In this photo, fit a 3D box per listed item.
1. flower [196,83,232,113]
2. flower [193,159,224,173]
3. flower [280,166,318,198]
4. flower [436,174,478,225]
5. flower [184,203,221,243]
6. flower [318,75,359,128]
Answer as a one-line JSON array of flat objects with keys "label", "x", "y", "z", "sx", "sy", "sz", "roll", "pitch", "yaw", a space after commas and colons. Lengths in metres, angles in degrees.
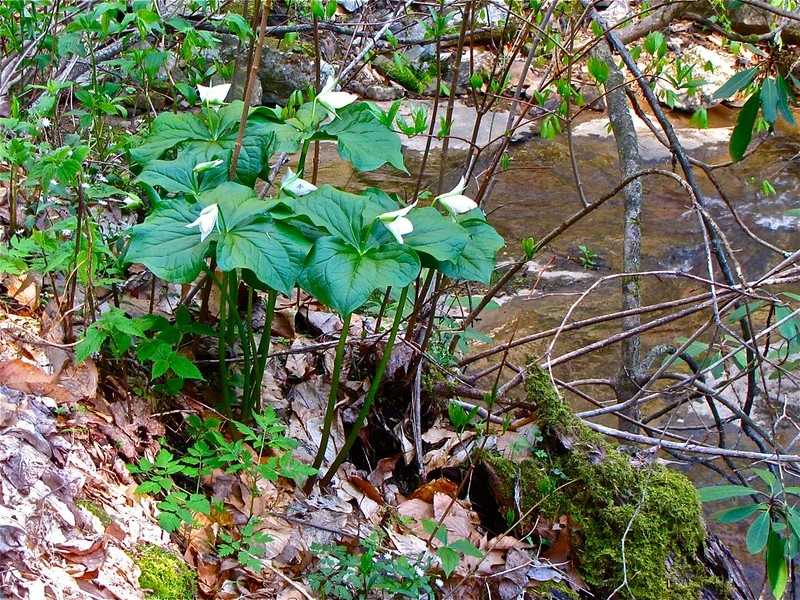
[{"label": "flower", "x": -0.769, "y": -0.843, "z": 2.836, "sx": 0.131, "sy": 0.092, "sz": 0.147, "roll": -12, "pitch": 1, "yaw": -5}, {"label": "flower", "x": -0.725, "y": -0.511, "z": 2.603, "sx": 0.097, "sy": 0.029, "sz": 0.064, "roll": -19, "pitch": 10, "yaw": 32}, {"label": "flower", "x": -0.404, "y": -0.456, "z": 2.717, "sx": 0.129, "sy": 0.123, "sz": 0.044, "roll": 32, "pitch": -7, "yaw": -24}, {"label": "flower", "x": 0.236, "y": -0.406, "z": 2.708, "sx": 0.144, "sy": 0.165, "sz": 0.156, "roll": 13, "pitch": -1, "yaw": 34}, {"label": "flower", "x": -0.686, "y": -0.278, "z": 2.469, "sx": 0.124, "sy": 0.132, "sz": 0.053, "roll": 21, "pitch": -3, "yaw": 34}, {"label": "flower", "x": -0.259, "y": -0.804, "z": 2.795, "sx": 0.162, "sy": 0.168, "sz": 0.053, "roll": -2, "pitch": -5, "yaw": 24}]
